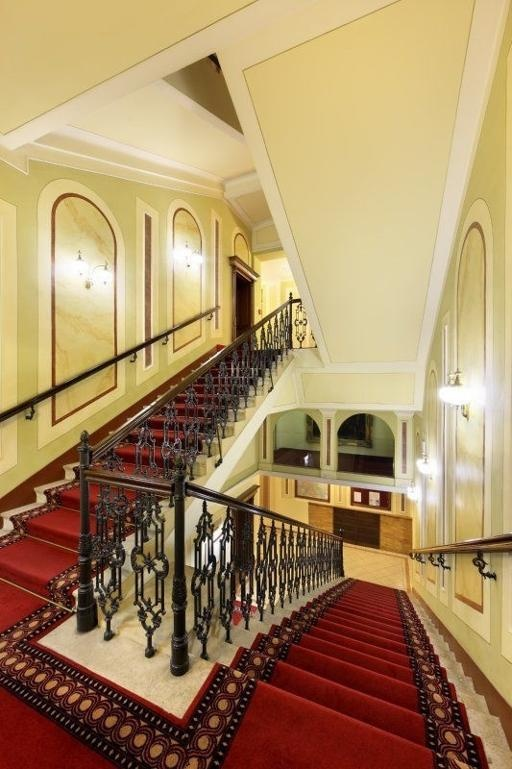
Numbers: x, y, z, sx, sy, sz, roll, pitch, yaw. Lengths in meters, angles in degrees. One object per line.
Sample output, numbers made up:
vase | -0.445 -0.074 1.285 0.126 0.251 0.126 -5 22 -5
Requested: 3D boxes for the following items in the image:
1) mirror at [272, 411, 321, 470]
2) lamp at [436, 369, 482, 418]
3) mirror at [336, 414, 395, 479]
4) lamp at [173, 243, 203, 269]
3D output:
mirror | 0.846 1.114 10.728 1.423 1.885 0.032 3 -40 -1
lamp | 1.358 0.069 3.322 0.172 0.336 0.180 -2 0 -37
mirror | 2.106 1.207 9.510 0.951 0.491 1.460 2 2 19
lamp | -0.936 -1.740 6.690 0.115 0.287 0.438 -2 12 11
